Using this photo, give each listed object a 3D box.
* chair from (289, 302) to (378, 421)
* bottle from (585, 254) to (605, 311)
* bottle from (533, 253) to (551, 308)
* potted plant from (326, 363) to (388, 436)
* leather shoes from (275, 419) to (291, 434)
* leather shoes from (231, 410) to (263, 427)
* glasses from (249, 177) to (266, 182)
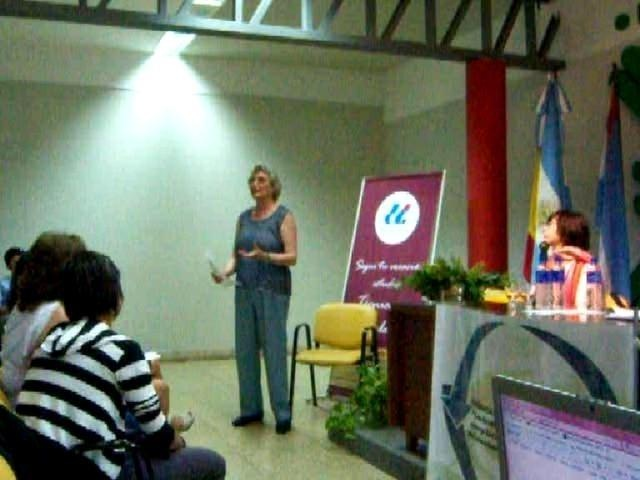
[{"bbox_3d":[0.111,0.909,4.671,0.568,0.838,0.544,-1,-6,19],"label":"chair"},{"bbox_3d":[1.289,0.208,2.971,0.071,0.237,0.143,-1,-1,32],"label":"bottle"},{"bbox_3d":[1.081,0.214,3.076,0.071,0.219,0.192,0,0,17],"label":"bottle"},{"bbox_3d":[0.233,1.075,4.325,0.377,0.378,0.430,5,-7,-16],"label":"potted plant"},{"bbox_3d":[-0.257,1.296,4.348,0.130,0.101,0.070,4,-4,-41],"label":"leather shoes"},{"bbox_3d":[-0.524,1.293,4.544,0.220,0.106,0.081,9,-9,-32],"label":"leather shoes"},{"bbox_3d":[-0.459,-0.431,4.451,0.143,0.045,0.044,0,0,31],"label":"glasses"}]
